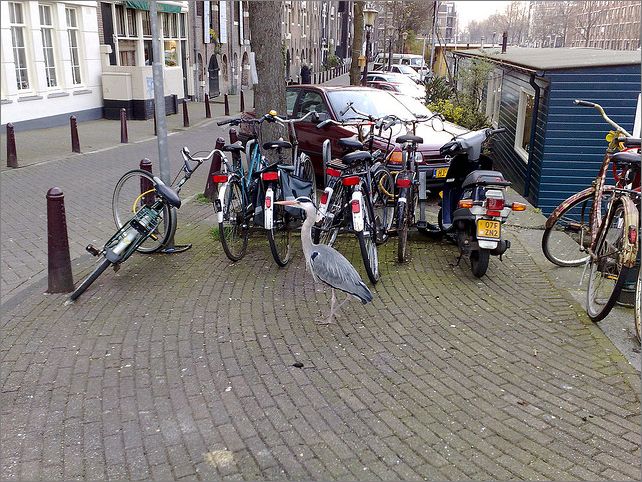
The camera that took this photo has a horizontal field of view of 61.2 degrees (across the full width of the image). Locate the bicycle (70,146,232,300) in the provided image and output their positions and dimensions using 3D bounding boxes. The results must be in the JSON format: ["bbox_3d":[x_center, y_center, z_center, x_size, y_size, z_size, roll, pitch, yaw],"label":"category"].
[{"bbox_3d":[-2.301,-0.385,6.866,1.499,1.354,2.185,-6,23,-12],"label":"bicycle"}]

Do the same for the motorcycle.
[{"bbox_3d":[1.975,-0.471,6.923,0.688,1.605,1.552,-2,22,-1],"label":"motorcycle"}]

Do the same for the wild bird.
[{"bbox_3d":[0.025,0.241,5.510,0.592,1.261,0.963,-11,24,-23],"label":"wild bird"}]

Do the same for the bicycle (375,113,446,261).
[{"bbox_3d":[1.394,-0.829,7.616,0.818,1.213,2.077,0,29,6],"label":"bicycle"}]
